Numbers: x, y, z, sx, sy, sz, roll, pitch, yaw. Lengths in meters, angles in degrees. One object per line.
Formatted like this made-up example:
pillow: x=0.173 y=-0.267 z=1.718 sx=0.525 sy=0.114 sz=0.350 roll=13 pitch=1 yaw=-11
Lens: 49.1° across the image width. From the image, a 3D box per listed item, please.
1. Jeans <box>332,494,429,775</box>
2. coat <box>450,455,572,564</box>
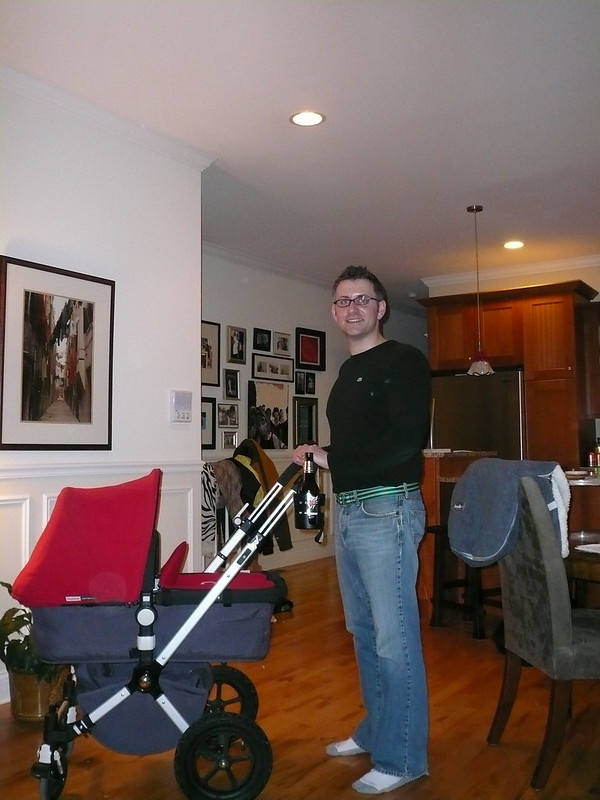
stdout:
Jeans: x=0.215 y=0.639 z=1.822 sx=0.204 sy=0.772 sz=0.307 roll=3 pitch=-7 yaw=-26
coat: x=0.573 y=0.327 z=1.857 sx=0.340 sy=0.269 sz=0.291 roll=0 pitch=-5 yaw=29
